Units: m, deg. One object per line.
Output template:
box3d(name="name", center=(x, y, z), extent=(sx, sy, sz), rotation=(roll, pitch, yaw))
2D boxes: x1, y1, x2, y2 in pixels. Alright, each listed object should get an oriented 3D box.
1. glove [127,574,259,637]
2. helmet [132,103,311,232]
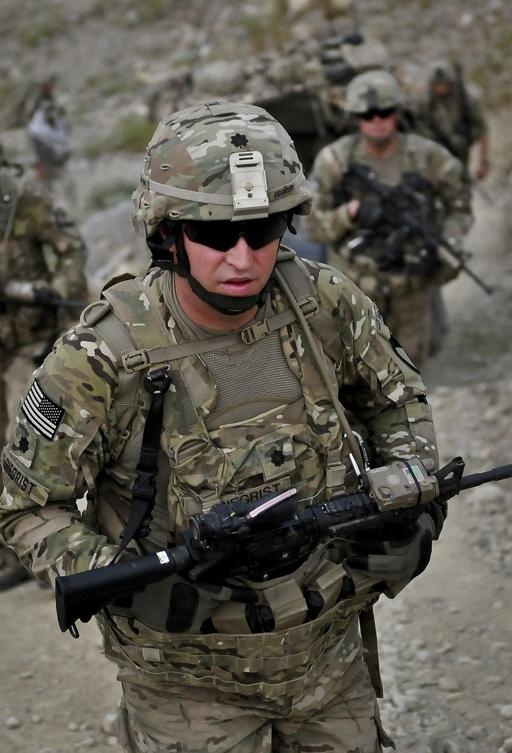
box3d(name="glove", center=(-0.162, 0.597, 2.136), extent=(0.292, 0.151, 0.096), rotation=(13, 46, -8))
box3d(name="helmet", center=(-0.099, -0.537, 2.118), extent=(0.403, 0.278, 0.367), rotation=(-7, 13, -16))
